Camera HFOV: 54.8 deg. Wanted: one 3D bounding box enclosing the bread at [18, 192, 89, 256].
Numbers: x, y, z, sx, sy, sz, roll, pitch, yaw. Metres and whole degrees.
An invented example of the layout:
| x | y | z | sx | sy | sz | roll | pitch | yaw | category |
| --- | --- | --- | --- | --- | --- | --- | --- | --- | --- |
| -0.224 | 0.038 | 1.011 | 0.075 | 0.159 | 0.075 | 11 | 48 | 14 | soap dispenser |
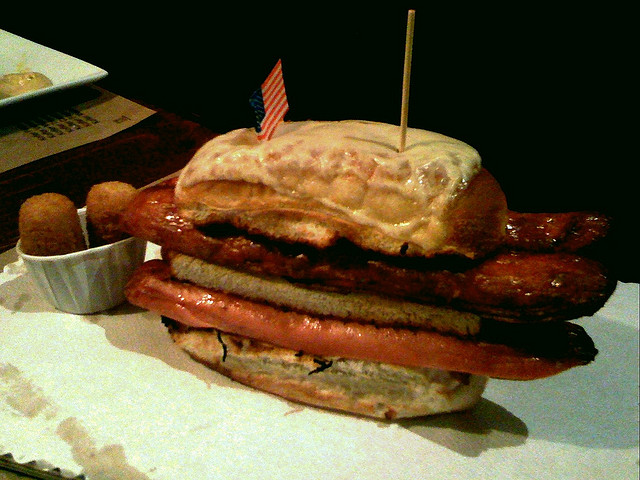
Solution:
| x | y | z | sx | sy | sz | roll | pitch | yaw | category |
| --- | --- | --- | --- | --- | --- | --- | --- | --- | --- |
| -1.219 | -0.077 | 3.032 | 0.363 | 0.274 | 0.307 | 1 | 25 | -1 | bread |

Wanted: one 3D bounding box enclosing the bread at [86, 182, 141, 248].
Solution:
| x | y | z | sx | sy | sz | roll | pitch | yaw | category |
| --- | --- | --- | --- | --- | --- | --- | --- | --- | --- |
| -1.048 | -0.111 | 3.085 | 0.292 | 0.371 | 0.259 | -10 | 40 | -15 | bread |

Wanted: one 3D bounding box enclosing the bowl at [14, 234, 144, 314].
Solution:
| x | y | z | sx | sy | sz | roll | pitch | yaw | category |
| --- | --- | --- | --- | --- | --- | --- | --- | --- | --- |
| -1.251 | 0.151 | 3.111 | 0.571 | 0.209 | 0.537 | -1 | 15 | 0 | bowl |

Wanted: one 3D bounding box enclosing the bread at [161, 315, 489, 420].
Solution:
| x | y | z | sx | sy | sz | roll | pitch | yaw | category |
| --- | --- | --- | --- | --- | --- | --- | --- | --- | --- |
| 0.061 | 0.486 | 2.784 | 0.988 | 0.172 | 0.535 | 8 | 6 | 16 | bread |
